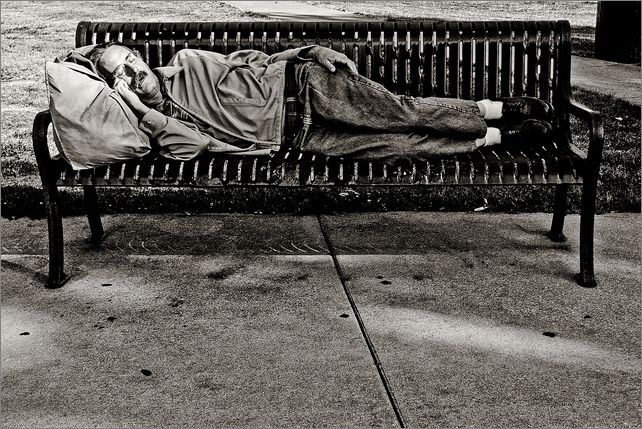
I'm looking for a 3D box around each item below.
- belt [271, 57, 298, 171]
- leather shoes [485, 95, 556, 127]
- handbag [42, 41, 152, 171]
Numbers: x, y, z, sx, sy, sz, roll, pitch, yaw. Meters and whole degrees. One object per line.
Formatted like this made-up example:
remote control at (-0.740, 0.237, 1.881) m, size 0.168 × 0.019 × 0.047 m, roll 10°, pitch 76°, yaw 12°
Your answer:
belt at (-0.193, -0.680, 4.157) m, size 0.144 × 0.624 × 0.115 m, roll 3°, pitch -7°, yaw -39°
leather shoes at (1.274, -0.662, 4.110) m, size 0.475 × 0.191 × 0.193 m, roll -6°, pitch -19°, yaw 8°
handbag at (-1.375, -0.595, 3.754) m, size 0.555 × 0.675 × 0.213 m, roll -27°, pitch 12°, yaw -21°
